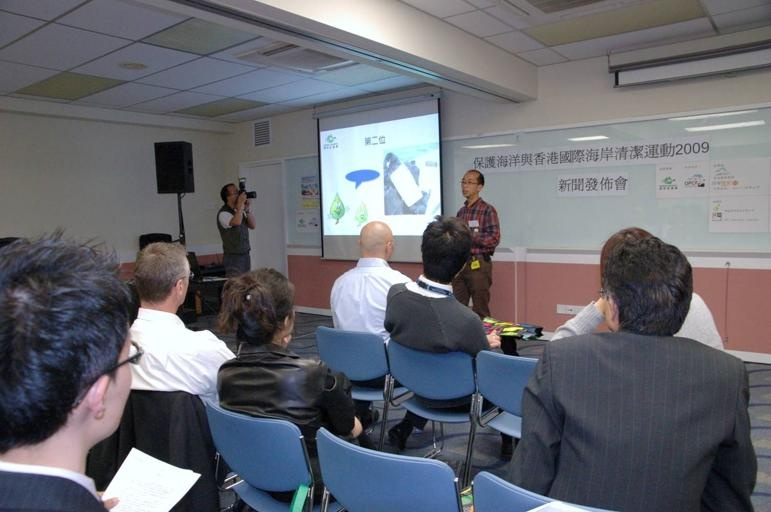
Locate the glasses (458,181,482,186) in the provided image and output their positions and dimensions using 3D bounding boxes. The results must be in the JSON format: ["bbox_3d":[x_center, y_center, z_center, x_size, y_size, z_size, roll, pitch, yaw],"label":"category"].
[{"bbox_3d":[0.957,-0.811,5.784,0.111,0.034,0.111,7,-5,-40],"label":"glasses"}]

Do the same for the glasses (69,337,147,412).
[{"bbox_3d":[-0.701,0.301,1.324,0.133,0.139,0.041,4,-21,36],"label":"glasses"}]

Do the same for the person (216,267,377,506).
[{"bbox_3d":[-0.463,0.571,2.290,0.532,1.010,0.399,3,7,36],"label":"person"}]

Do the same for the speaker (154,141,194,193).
[{"bbox_3d":[-2.749,-1.161,6.802,0.572,0.668,0.225,2,6,28],"label":"speaker"}]
